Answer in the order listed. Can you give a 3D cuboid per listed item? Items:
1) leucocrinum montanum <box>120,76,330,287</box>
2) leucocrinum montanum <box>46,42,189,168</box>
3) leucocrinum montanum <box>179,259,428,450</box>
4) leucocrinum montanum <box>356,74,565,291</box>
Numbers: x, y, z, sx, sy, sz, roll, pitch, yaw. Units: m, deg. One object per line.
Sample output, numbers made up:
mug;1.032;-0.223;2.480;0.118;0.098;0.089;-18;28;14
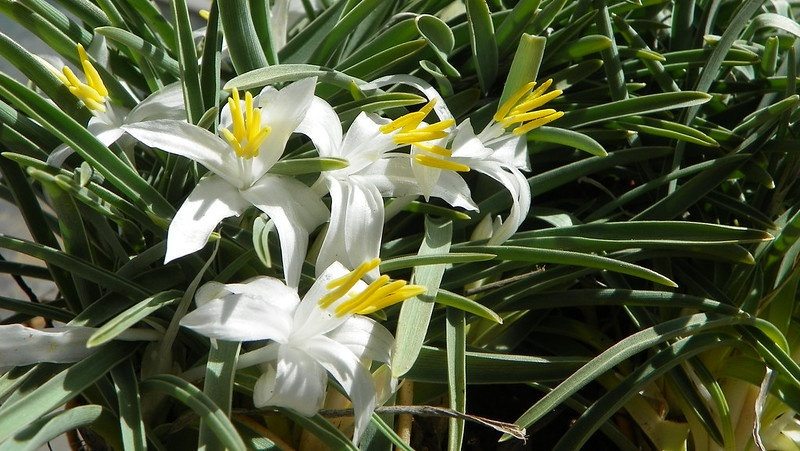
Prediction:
leucocrinum montanum;-0.166;-0.044;0.789;0.201;0.159;0.165;-15;40;-19
leucocrinum montanum;-0.307;-0.139;0.869;0.074;0.143;0.145;-9;59;-44
leucocrinum montanum;-0.099;0.115;0.806;0.202;0.153;0.163;17;41;21
leucocrinum montanum;0.067;-0.108;0.921;0.248;0.169;0.247;26;22;6
